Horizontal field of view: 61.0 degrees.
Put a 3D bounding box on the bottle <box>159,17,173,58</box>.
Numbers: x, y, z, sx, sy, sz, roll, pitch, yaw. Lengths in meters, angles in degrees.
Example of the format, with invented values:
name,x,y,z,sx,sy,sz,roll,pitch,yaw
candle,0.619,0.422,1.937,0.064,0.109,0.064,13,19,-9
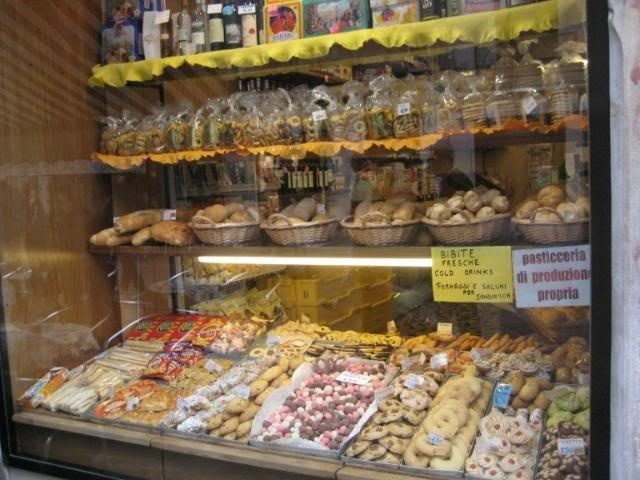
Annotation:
name,x,y,z,sx,sy,sz,roll,pitch,yaw
bottle,-0.819,-1.074,2.907,0.040,0.156,0.165,-3,5,-33

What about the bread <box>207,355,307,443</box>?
name,x,y,z,sx,sy,sz,roll,pitch,yaw
bread,-0.306,0.770,2.664,0.228,0.079,0.411,12,38,44

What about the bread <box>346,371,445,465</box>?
name,x,y,z,sx,sy,sz,roll,pitch,yaw
bread,0.356,0.784,2.453,0.239,0.058,0.454,0,26,28

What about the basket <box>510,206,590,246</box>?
name,x,y,z,sx,sy,sz,roll,pitch,yaw
basket,0.937,-0.052,2.217,0.082,0.150,0.353,-9,8,-18

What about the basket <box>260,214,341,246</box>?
name,x,y,z,sx,sy,sz,roll,pitch,yaw
basket,-0.114,-0.070,2.873,0.432,0.172,0.433,-5,4,-28

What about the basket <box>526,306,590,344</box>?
name,x,y,z,sx,sy,sz,roll,pitch,yaw
basket,1.007,0.349,2.290,0.165,0.072,0.206,2,-5,-19

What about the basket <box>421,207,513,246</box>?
name,x,y,z,sx,sy,sz,roll,pitch,yaw
basket,0.649,-0.032,2.597,0.408,0.116,0.388,2,-9,-35

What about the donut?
name,x,y,z,sx,sy,sz,roll,pitch,yaw
donut,0.582,0.778,2.379,0.215,0.107,0.482,5,35,25

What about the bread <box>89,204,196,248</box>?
name,x,y,z,sx,sy,sz,roll,pitch,yaw
bread,-0.967,-0.063,3.051,0.313,0.103,0.378,6,12,34

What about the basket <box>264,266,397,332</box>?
name,x,y,z,sx,sy,sz,roll,pitch,yaw
basket,0.075,0.290,2.859,0.637,0.340,0.418,1,6,23
